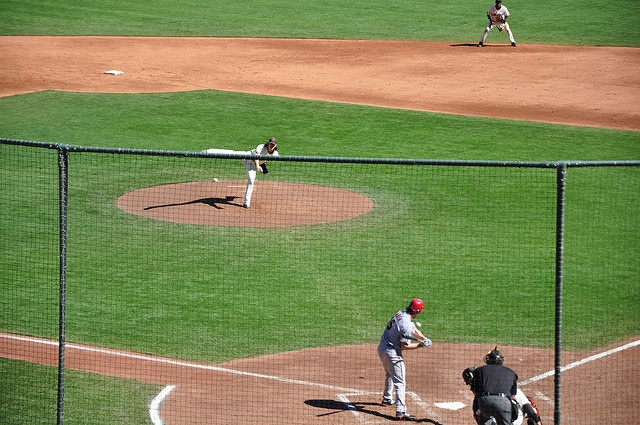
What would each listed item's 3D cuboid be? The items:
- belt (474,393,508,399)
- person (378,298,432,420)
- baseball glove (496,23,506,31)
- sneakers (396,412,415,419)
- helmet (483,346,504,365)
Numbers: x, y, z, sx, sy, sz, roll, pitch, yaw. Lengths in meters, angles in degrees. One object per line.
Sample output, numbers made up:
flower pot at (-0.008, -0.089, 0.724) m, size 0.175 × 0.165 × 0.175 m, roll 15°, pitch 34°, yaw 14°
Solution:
belt at (4.524, 4.737, 30.305) m, size 0.796 × 0.155 × 0.085 m, roll 1°, pitch 7°, yaw 7°
person at (2.231, 3.930, 31.571) m, size 1.273 × 3.184 × 0.903 m, roll 1°, pitch 7°, yaw 2°
baseball glove at (9.138, -9.314, 58.369) m, size 0.534 × 0.188 × 0.583 m, roll 21°, pitch 4°, yaw -1°
sneakers at (2.294, 5.448, 31.335) m, size 0.627 × 0.202 × 0.176 m, roll -1°, pitch 12°, yaw -3°
helmet at (4.621, 3.771, 30.623) m, size 0.540 × 0.328 × 0.332 m, roll -6°, pitch 26°, yaw -2°
